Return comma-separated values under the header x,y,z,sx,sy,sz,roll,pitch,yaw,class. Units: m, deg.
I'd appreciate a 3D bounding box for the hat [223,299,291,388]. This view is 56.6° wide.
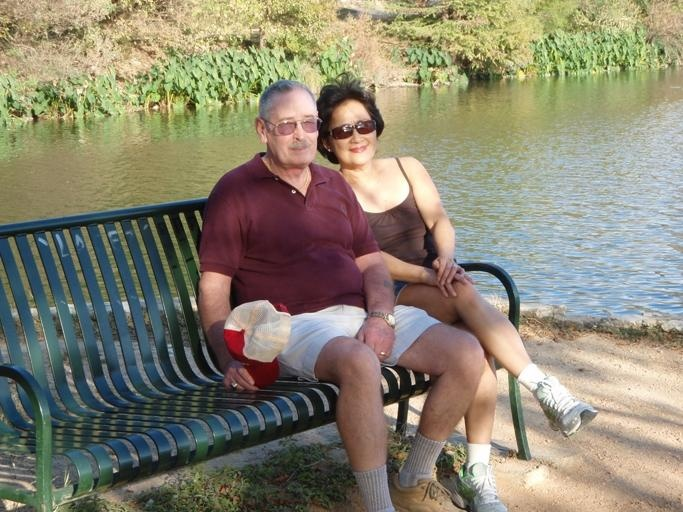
x,y,z,sx,sy,sz,roll,pitch,yaw,class
-0.328,0.364,2.631,0.255,0.378,0.190,8,11,28,hat

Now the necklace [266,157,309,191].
x,y,z,sx,sy,sz,roll,pitch,yaw,class
-0.265,-0.406,3.080,0.197,0.078,0.153,36,23,20,necklace

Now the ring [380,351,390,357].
x,y,z,sx,sy,sz,roll,pitch,yaw,class
0.191,0.441,2.855,0.028,0.014,0.037,2,-5,-13,ring

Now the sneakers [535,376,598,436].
x,y,z,sx,sy,sz,roll,pitch,yaw,class
0.954,0.635,2.893,0.156,0.174,0.368,-48,23,-6,sneakers

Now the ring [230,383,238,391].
x,y,z,sx,sy,sz,roll,pitch,yaw,class
-0.461,0.560,2.720,0.028,0.008,0.050,-35,-31,5,ring

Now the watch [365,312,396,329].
x,y,z,sx,sy,sz,roll,pitch,yaw,class
0.185,0.303,3.001,0.088,0.047,0.093,-3,-9,30,watch
